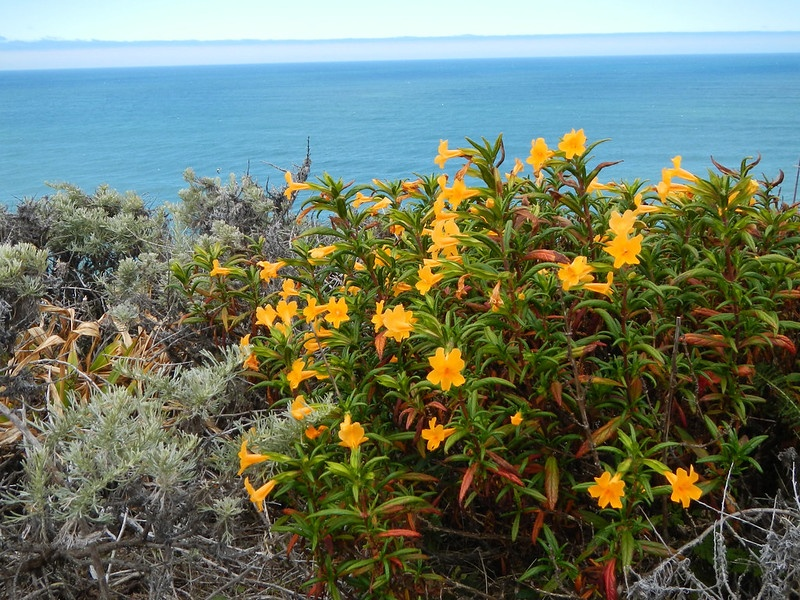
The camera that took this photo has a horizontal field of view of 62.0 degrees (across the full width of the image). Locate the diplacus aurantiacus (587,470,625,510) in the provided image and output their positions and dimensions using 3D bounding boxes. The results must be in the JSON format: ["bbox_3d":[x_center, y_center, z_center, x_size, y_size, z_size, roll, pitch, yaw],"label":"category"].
[{"bbox_3d":[0.786,0.705,2.519,0.143,0.151,0.066,23,53,37],"label":"diplacus aurantiacus"}]
